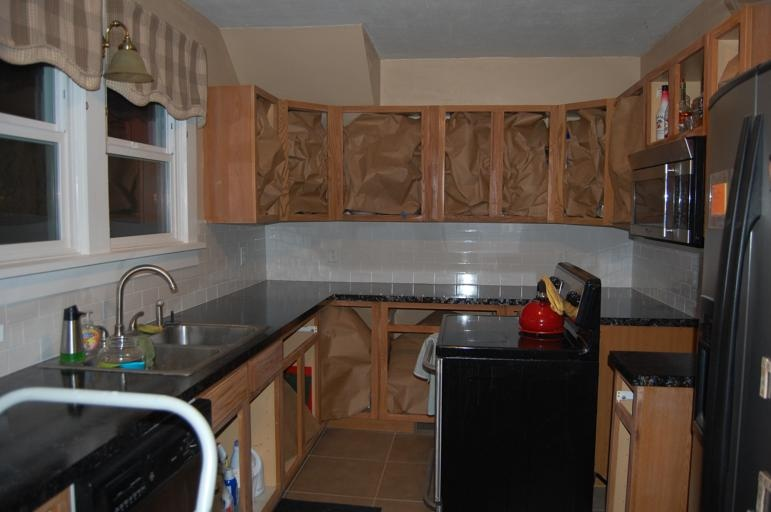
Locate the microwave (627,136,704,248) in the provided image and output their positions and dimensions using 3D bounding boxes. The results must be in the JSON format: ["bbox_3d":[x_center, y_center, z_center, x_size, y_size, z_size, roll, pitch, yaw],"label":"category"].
[{"bbox_3d":[1.700,-0.369,3.338,0.379,0.572,0.699,1,4,-3],"label":"microwave"}]

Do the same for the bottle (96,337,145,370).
[{"bbox_3d":[-1.201,0.427,2.658,0.174,0.166,0.168,3,2,19],"label":"bottle"}]

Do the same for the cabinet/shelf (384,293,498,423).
[{"bbox_3d":[0.371,0.755,4.724,0.949,1.342,0.697,3,0,6],"label":"cabinet/shelf"}]

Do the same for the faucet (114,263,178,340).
[{"bbox_3d":[-1.180,0.197,2.806,0.274,0.318,0.304,-3,5,-26],"label":"faucet"}]

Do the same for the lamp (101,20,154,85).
[{"bbox_3d":[-1.268,-1.015,2.816,0.230,0.273,0.256,1,13,-1],"label":"lamp"}]

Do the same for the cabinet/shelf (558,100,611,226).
[{"bbox_3d":[1.470,-0.691,4.300,0.481,0.672,0.205,1,10,0],"label":"cabinet/shelf"}]

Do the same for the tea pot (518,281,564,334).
[{"bbox_3d":[0.853,0.271,3.202,0.283,0.310,0.278,0,0,0],"label":"tea pot"}]

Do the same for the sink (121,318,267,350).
[{"bbox_3d":[-1.102,0.424,3.135,0.307,0.145,0.384,4,3,27],"label":"sink"}]

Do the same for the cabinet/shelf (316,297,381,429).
[{"bbox_3d":[-0.300,0.779,4.275,0.412,0.832,0.272,-2,4,-13],"label":"cabinet/shelf"}]

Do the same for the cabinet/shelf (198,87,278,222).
[{"bbox_3d":[-0.954,-0.706,4.083,0.477,0.905,0.533,4,8,20],"label":"cabinet/shelf"}]

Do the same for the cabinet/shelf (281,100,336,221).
[{"bbox_3d":[-0.580,-0.720,4.380,0.381,0.839,0.124,1,1,22],"label":"cabinet/shelf"}]
